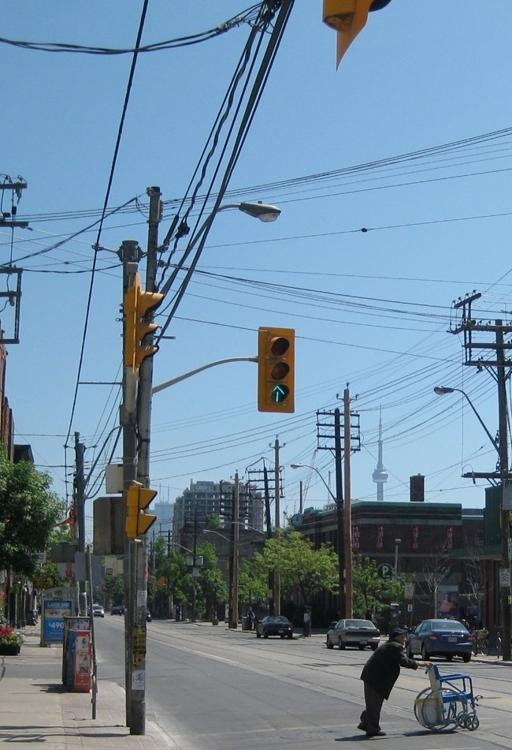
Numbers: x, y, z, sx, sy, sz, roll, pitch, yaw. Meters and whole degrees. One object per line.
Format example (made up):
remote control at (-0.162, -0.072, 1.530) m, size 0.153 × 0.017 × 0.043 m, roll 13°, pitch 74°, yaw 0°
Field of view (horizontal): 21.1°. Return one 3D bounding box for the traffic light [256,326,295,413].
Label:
traffic light at (0.283, -0.068, 19.827) m, size 0.428 × 1.314 × 0.445 m, roll -1°, pitch -17°, yaw 9°

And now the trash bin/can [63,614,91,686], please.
trash bin/can at (-3.171, 4.971, 24.287) m, size 0.542 × 1.669 × 0.705 m, roll 1°, pitch -8°, yaw -7°

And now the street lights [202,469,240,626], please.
street lights at (-1.364, 9.758, 76.347) m, size 0.511 × 8.951 × 0.394 m, roll 4°, pitch 8°, yaw 33°

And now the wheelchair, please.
wheelchair at (2.709, 4.561, 19.498) m, size 0.854 × 1.025 × 0.859 m, roll -1°, pitch -5°, yaw -32°
